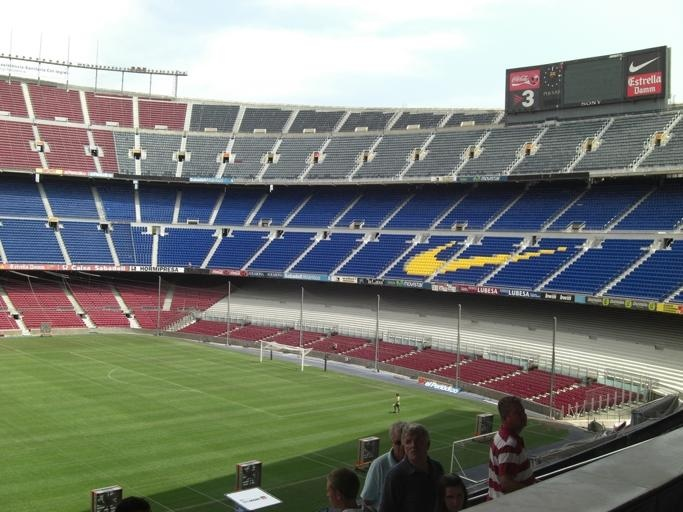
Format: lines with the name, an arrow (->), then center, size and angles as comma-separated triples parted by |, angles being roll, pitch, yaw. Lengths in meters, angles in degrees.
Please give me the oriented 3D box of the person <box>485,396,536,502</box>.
person -> 2.134, 2.474, 7.770 | 0.629, 1.275, 0.702 | -7, -9, 8
